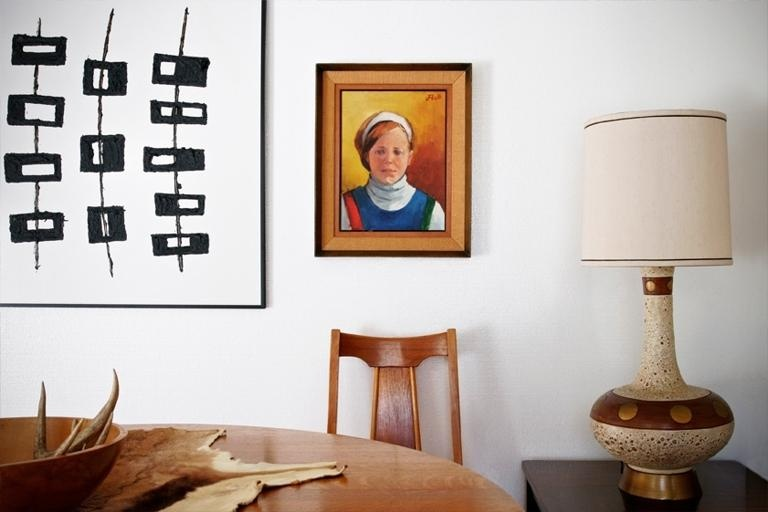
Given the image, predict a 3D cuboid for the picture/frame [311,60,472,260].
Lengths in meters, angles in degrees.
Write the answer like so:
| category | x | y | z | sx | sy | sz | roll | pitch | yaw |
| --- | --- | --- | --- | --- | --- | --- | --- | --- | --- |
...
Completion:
| category | x | y | z | sx | sy | sz | roll | pitch | yaw |
| --- | --- | --- | --- | --- | --- | --- | --- | --- | --- |
| picture/frame | 0.057 | -0.479 | 3.338 | 0.945 | 1.182 | 0.050 | 0 | 0 | 2 |
